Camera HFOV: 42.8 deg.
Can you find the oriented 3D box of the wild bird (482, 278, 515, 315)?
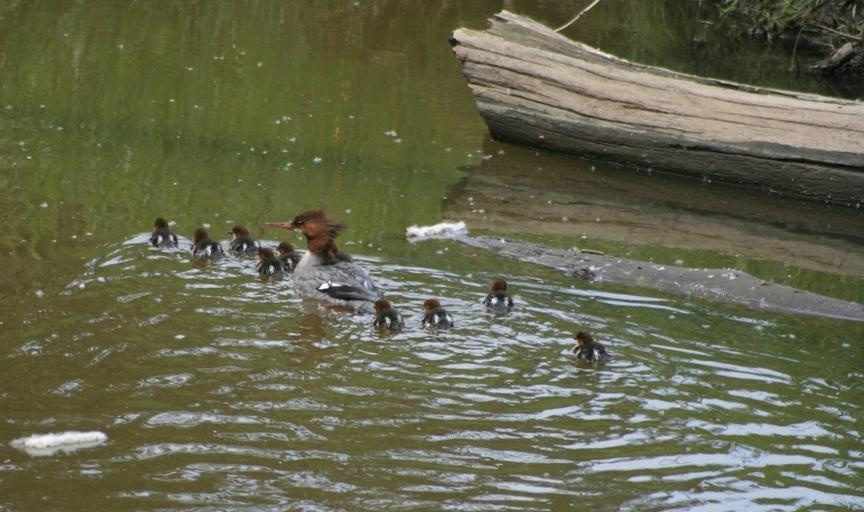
[{"bbox_3d":[1.185,0.717,19.750,0.621,0.365,0.748,1,22,6],"label":"wild bird"}]

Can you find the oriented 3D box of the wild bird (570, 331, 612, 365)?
[{"bbox_3d":[2.614,1.548,18.669,0.580,0.265,0.714,-13,19,-15],"label":"wild bird"}]
